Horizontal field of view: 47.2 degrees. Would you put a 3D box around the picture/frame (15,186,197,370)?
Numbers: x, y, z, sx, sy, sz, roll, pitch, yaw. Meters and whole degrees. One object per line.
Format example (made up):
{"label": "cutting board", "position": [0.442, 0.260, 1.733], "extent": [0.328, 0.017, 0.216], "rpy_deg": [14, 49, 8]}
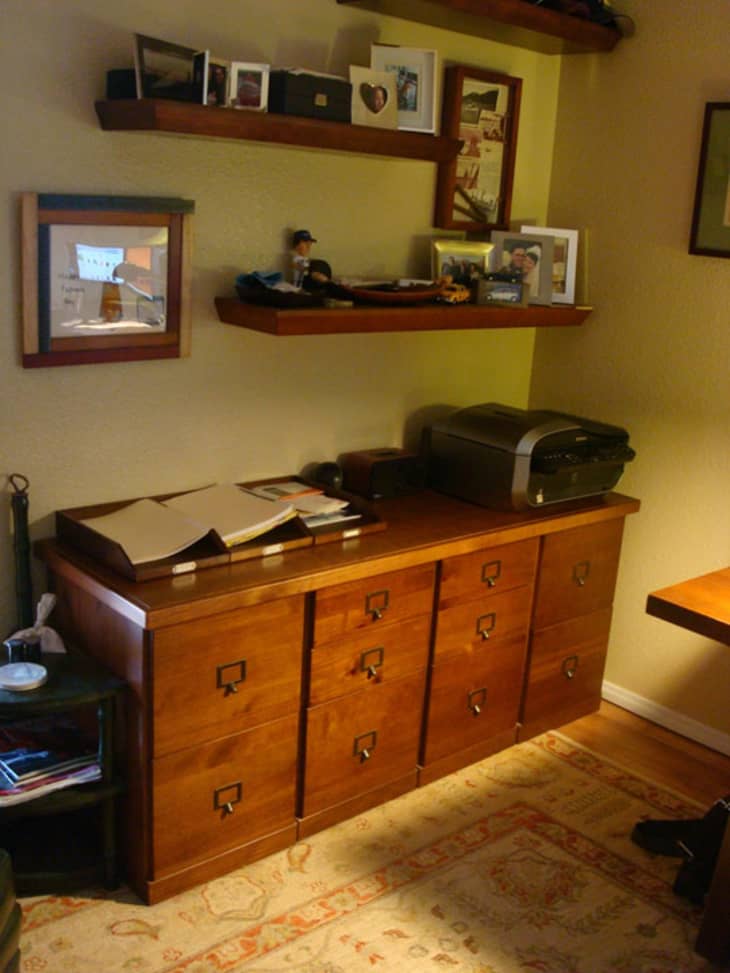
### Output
{"label": "picture/frame", "position": [-0.580, -0.468, 1.822], "extent": [0.037, 0.391, 0.446], "rpy_deg": [20, 20, 40]}

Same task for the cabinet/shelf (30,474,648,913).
{"label": "cabinet/shelf", "position": [0.017, 0.424, 2.328], "extent": [1.576, 0.703, 0.541], "rpy_deg": [-9, 20, -34]}

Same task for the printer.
{"label": "printer", "position": [0.442, -0.097, 2.441], "extent": [0.409, 0.197, 0.401], "rpy_deg": [-10, 21, -39]}
